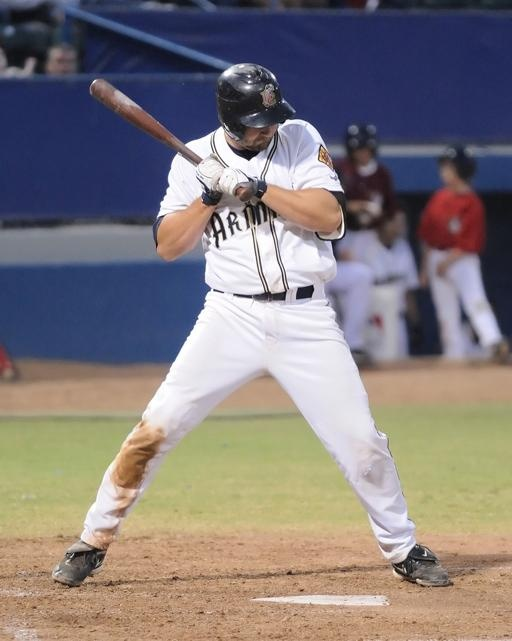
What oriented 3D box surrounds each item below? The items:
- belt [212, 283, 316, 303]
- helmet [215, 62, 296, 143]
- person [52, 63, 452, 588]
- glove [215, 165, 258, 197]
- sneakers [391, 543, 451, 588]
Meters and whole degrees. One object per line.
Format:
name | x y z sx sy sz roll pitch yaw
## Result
belt | 0.030 -0.078 2.714 0.286 0.047 0.093 -2 3 1
helmet | -0.007 -0.664 2.704 0.219 0.254 0.220 -2 3 -2
person | -0.022 0.033 2.767 1.091 1.645 0.447 -1 4 16
glove | -0.071 -0.392 2.571 0.079 0.080 0.101 -4 3 -29
sneakers | 0.513 0.776 2.867 0.094 0.080 0.221 -5 -1 -31
